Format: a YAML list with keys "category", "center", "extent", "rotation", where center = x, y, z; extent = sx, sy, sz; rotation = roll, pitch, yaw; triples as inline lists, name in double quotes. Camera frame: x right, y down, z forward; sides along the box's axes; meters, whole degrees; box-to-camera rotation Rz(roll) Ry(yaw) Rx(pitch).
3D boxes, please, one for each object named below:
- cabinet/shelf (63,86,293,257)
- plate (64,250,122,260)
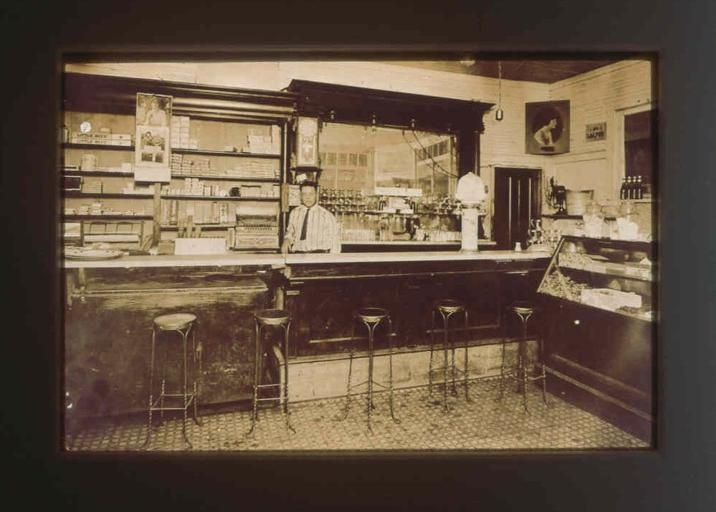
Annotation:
- category: "cabinet/shelf"
  center: [-2.190, -0.997, 7.694]
  extent: [1.874, 1.778, 0.642]
  rotation: [0, 0, -15]
- category: "plate"
  center: [-2.453, -0.023, 6.053]
  extent: [0.497, 0.098, 0.270]
  rotation: [-2, 8, -24]
